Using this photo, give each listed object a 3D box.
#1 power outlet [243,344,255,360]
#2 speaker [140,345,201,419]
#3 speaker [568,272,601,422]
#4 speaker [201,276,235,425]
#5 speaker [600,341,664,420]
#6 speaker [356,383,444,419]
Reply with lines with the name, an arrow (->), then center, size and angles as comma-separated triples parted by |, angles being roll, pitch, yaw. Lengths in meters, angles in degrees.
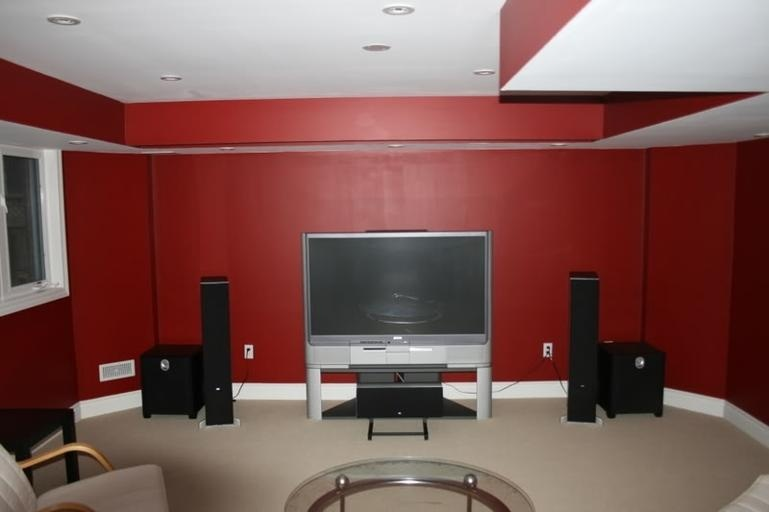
power outlet -> -1.378, 0.977, 6.316 | 0.158, 0.214, 0.021 | 0, 3, -3
speaker -> -2.004, 1.235, 6.173 | 0.624, 0.658, 0.622 | 0, 0, -4
speaker -> 1.854, 0.856, 5.771 | 0.314, 1.405, 0.200 | -2, -1, 16
speaker -> -1.570, 0.940, 5.901 | 0.378, 1.368, 0.382 | -2, -1, -8
speaker -> 2.351, 1.204, 6.130 | 0.639, 0.667, 0.639 | 0, 1, 1
speaker -> 0.202, 1.391, 5.846 | 0.893, 0.307, 0.264 | -7, -14, 25
